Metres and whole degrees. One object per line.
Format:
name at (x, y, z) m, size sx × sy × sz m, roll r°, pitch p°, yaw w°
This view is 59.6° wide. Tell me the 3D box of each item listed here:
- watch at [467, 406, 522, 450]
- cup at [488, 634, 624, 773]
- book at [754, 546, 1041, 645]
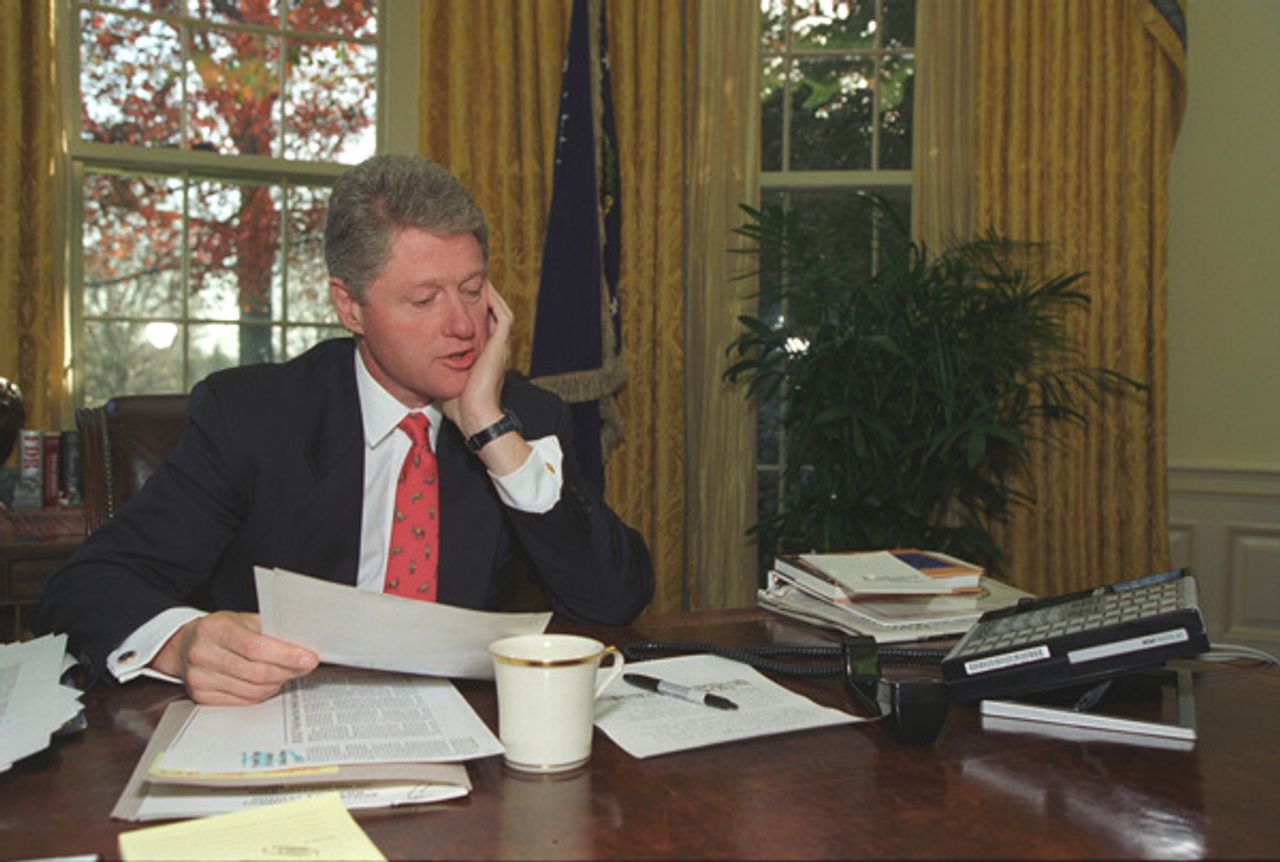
watch at (-0.313, -0.001, 2.393) m, size 0.106 × 0.063 × 0.103 m, roll -27°, pitch -16°, yaw -16°
cup at (-0.147, 0.452, 1.872) m, size 0.213 × 0.185 × 0.187 m, roll -1°, pitch -1°, yaw -33°
book at (0.520, 0.333, 2.299) m, size 0.268 × 0.069 × 0.286 m, roll -2°, pitch 10°, yaw -21°
